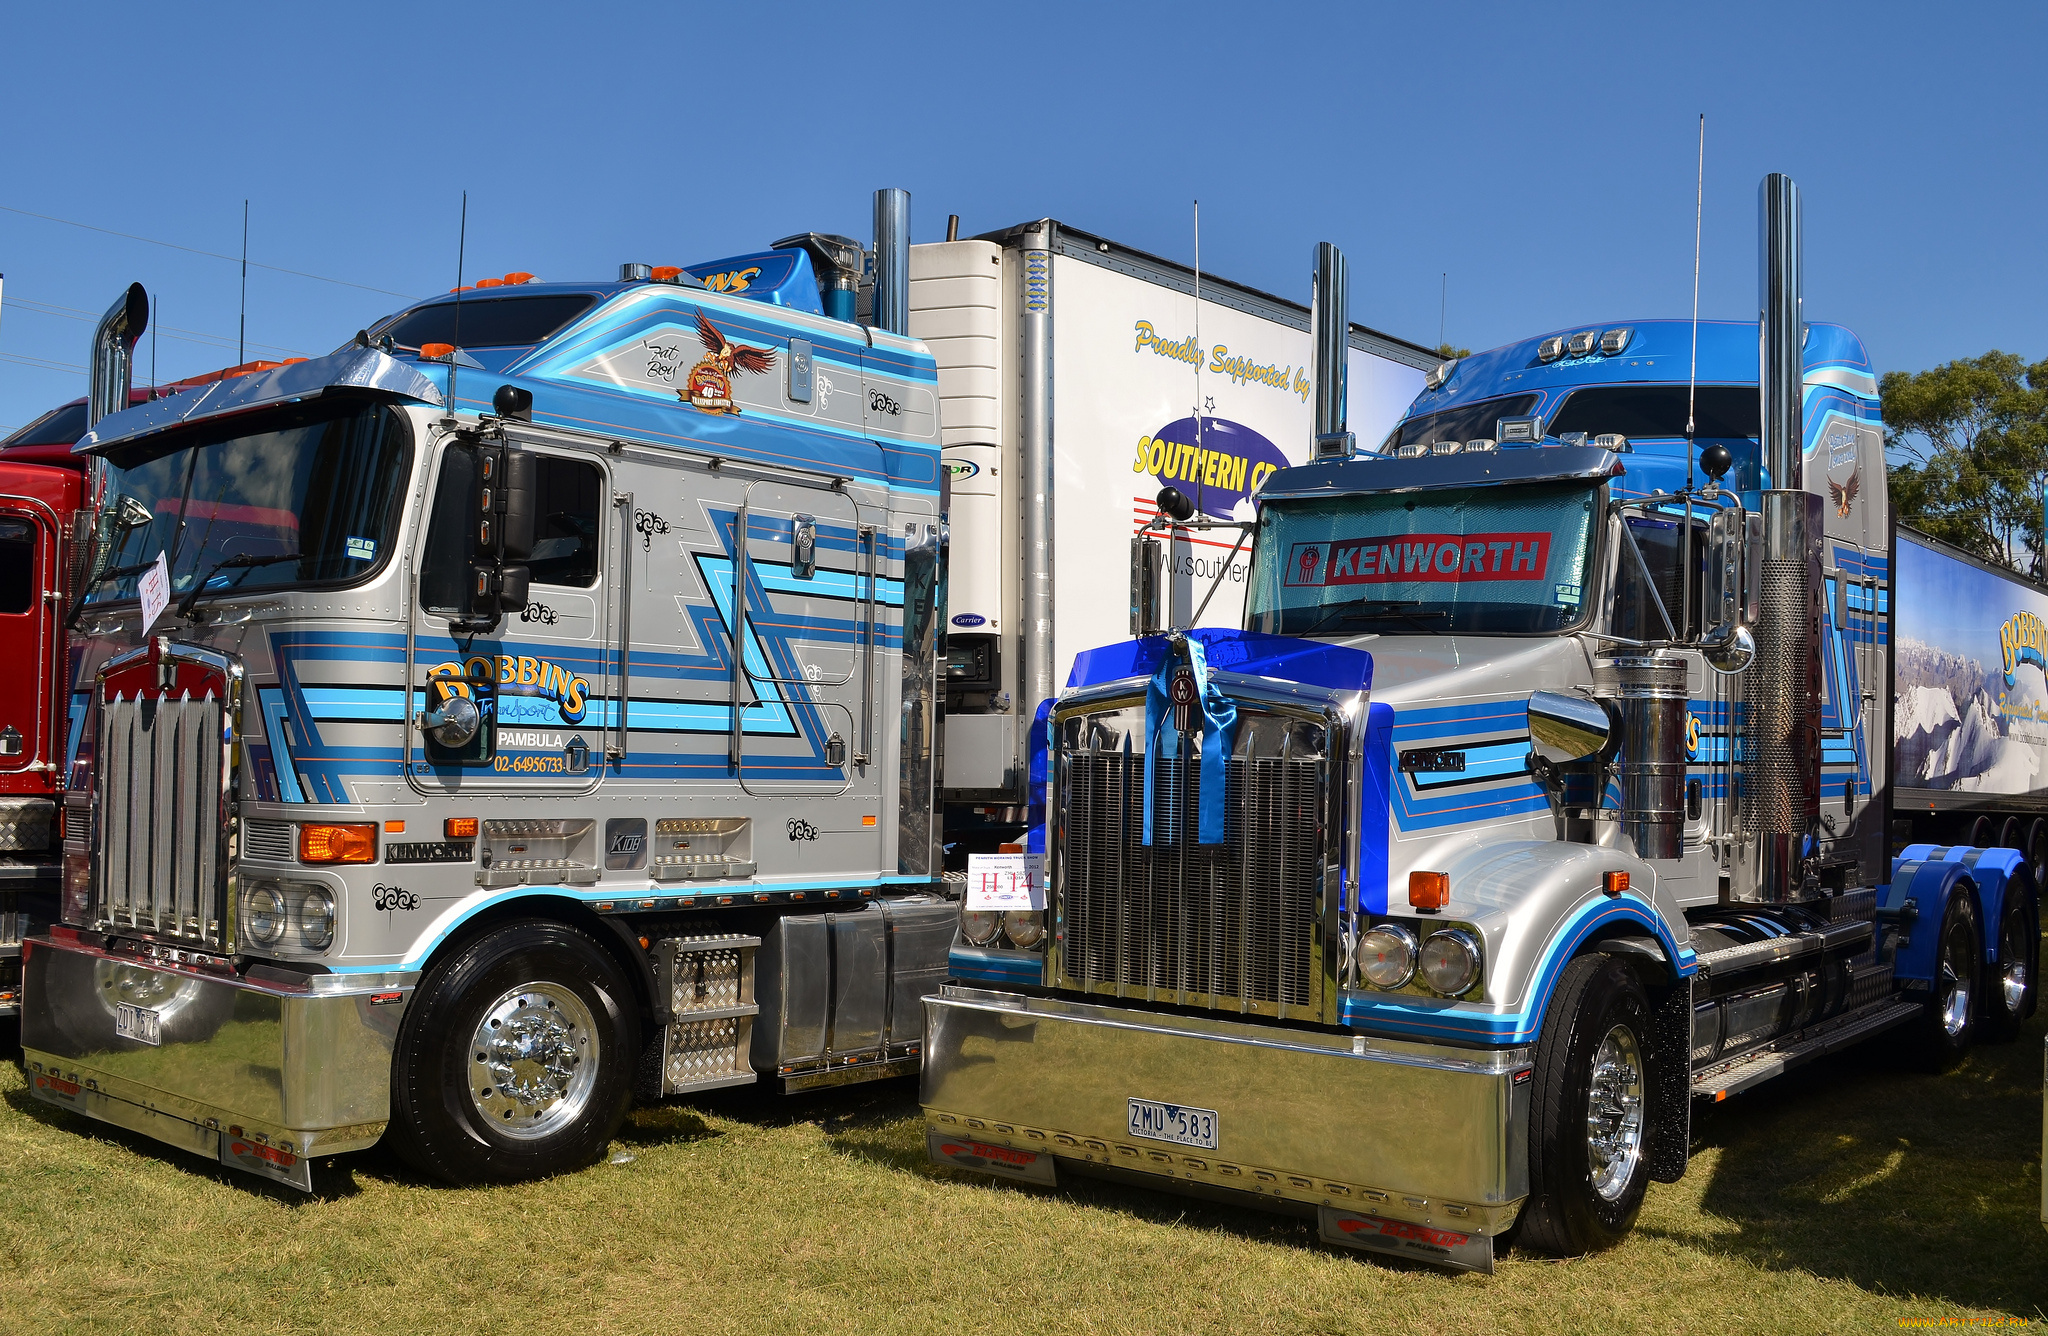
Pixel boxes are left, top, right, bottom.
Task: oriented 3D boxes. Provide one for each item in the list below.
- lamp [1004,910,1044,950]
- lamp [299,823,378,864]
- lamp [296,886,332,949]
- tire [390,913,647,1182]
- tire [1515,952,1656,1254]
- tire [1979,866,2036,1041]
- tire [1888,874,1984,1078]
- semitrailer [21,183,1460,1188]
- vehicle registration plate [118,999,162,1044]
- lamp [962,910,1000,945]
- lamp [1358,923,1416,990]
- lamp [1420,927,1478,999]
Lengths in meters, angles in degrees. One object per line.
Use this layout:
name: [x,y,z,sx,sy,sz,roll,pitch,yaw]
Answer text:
lamp: [0.004,1.450,10.635,0.249,0.217,0.050,3,5,33]
lamp: [-3.695,0.938,10.294,0.254,0.172,0.265,-2,-6,36]
lamp: [-3.806,1.340,10.288,0.242,0.329,0.061,3,4,28]
tire: [-2.862,2.218,10.938,1.428,1.496,0.474,15,-14,-33]
tire: [2.859,2.234,9.820,0.554,1.649,1.431,1,-5,35]
tire: [7.592,2.194,14.785,0.377,1.330,1.279,-3,-6,39]
tire: [6.758,2.301,14.269,0.453,1.441,1.403,0,-3,39]
semitrailer: [-2.273,0.251,14.248,4.226,6.134,12.042,-4,-6,41]
vehicle registration plate: [-5.036,2.009,10.897,0.481,0.251,0.033,4,5,37]
lamp: [-0.235,1.462,10.760,0.195,0.194,0.065,15,4,17]
lamp: [1.845,1.453,9.635,0.313,0.387,0.194,1,0,41]
lamp: [2.134,1.474,9.526,0.256,0.292,0.145,16,-1,26]
